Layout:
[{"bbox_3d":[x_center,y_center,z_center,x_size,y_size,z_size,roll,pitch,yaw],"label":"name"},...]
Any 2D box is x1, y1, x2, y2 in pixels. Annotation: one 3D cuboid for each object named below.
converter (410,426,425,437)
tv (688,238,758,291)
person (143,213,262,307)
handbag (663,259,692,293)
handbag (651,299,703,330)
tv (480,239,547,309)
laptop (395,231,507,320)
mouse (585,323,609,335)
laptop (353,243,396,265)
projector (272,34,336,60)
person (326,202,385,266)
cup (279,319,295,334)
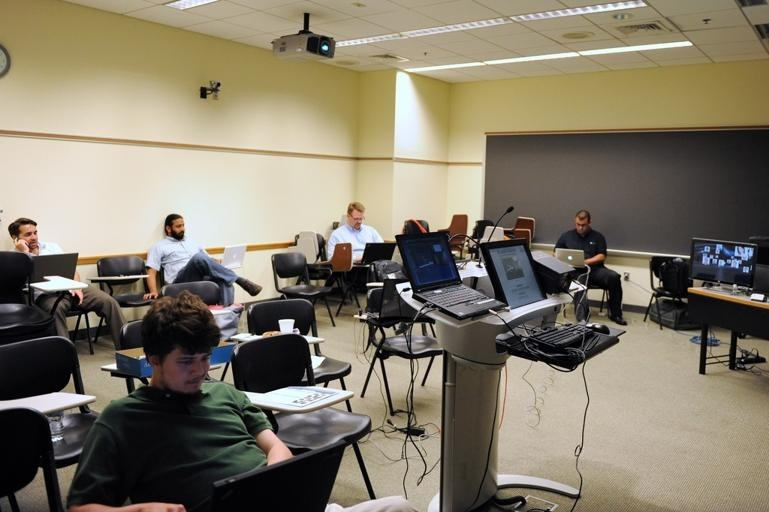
[{"bbox_3d":[0.256,1.401,3.958,0.070,0.027,0.069,-1,-3,34],"label":"converter"},{"bbox_3d":[3.716,0.113,5.475,0.165,0.442,0.613,-4,5,-26],"label":"tv"},{"bbox_3d":[-2.121,0.108,6.251,1.411,1.107,0.952,0,-4,27],"label":"person"},{"bbox_3d":[4.013,0.319,6.879,0.210,0.535,0.364,-9,14,-43],"label":"handbag"},{"bbox_3d":[4.122,0.819,7.085,0.540,0.437,0.636,-4,6,-21],"label":"handbag"},{"bbox_3d":[0.732,0.122,2.845,0.042,0.383,0.390,-27,-12,36],"label":"tv"},{"bbox_3d":[0.322,0.092,2.781,0.389,0.385,0.563,-9,19,-39],"label":"laptop"},{"bbox_3d":[1.153,0.393,2.724,0.060,0.028,0.106,-2,6,-26],"label":"mouse"},{"bbox_3d":[-0.086,-0.028,6.709,0.413,0.299,0.259,-3,16,-29],"label":"laptop"},{"bbox_3d":[-1.006,-2.585,6.174,0.722,0.263,0.337,7,12,31],"label":"projector"},{"bbox_3d":[-0.475,-0.310,7.585,1.068,1.032,0.572,-2,0,-42],"label":"person"},{"bbox_3d":[-0.716,0.525,3.723,0.125,0.093,0.125,0,-5,0],"label":"cup"}]
